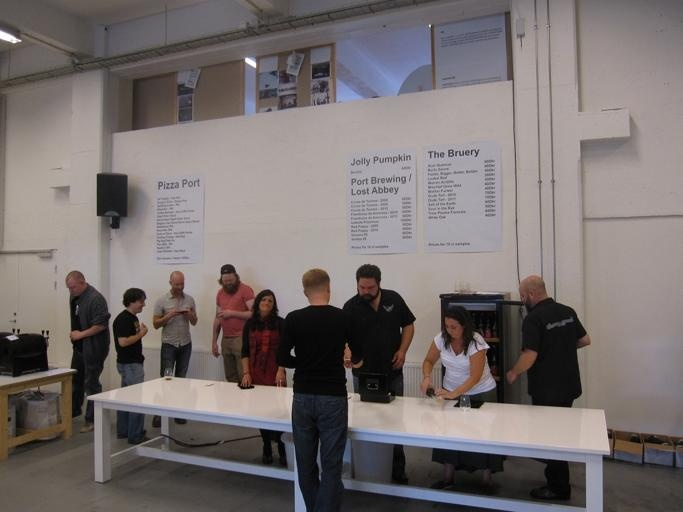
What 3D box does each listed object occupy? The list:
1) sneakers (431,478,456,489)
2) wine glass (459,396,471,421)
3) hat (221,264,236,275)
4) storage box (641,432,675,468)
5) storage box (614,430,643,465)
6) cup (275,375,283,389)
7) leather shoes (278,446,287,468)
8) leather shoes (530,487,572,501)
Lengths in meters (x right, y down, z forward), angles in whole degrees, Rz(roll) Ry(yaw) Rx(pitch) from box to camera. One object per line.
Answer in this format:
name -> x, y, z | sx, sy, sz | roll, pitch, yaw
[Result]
sneakers -> 0.966, 2.201, 5.626 | 0.238, 0.097, 0.092 | -1, -4, -11
wine glass -> 1.112, 1.370, 5.300 | 0.109, 0.175, 0.113 | 2, 4, 27
hat -> -1.454, 0.178, 7.397 | 0.116, 0.109, 0.172 | -2, -5, -11
storage box -> 3.337, 2.059, 6.166 | 0.291, 0.234, 0.393 | -2, -2, 29
storage box -> 3.053, 2.051, 6.247 | 0.281, 0.247, 0.358 | -2, -2, 28
cup -> -0.645, 1.321, 6.090 | 0.087, 0.084, 0.181 | -8, 5, 2
leather shoes -> -0.634, 2.114, 6.149 | 0.086, 0.202, 0.278 | 0, -13, -8
leather shoes -> 1.938, 2.243, 5.438 | 0.352, 0.148, 0.145 | 1, -5, 15
